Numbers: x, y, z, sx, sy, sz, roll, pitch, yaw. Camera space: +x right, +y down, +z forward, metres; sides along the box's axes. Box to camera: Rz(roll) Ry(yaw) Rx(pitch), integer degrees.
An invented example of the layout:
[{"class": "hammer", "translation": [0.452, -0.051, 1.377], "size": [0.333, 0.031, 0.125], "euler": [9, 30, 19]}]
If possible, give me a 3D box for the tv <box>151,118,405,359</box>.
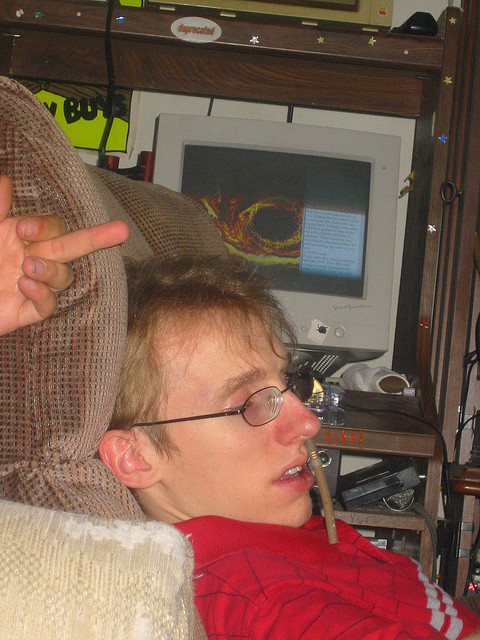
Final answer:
[{"class": "tv", "translation": [0.076, -0.188, 1.290], "size": [0.538, 0.487, 0.282], "euler": [8, -9, -7]}]
